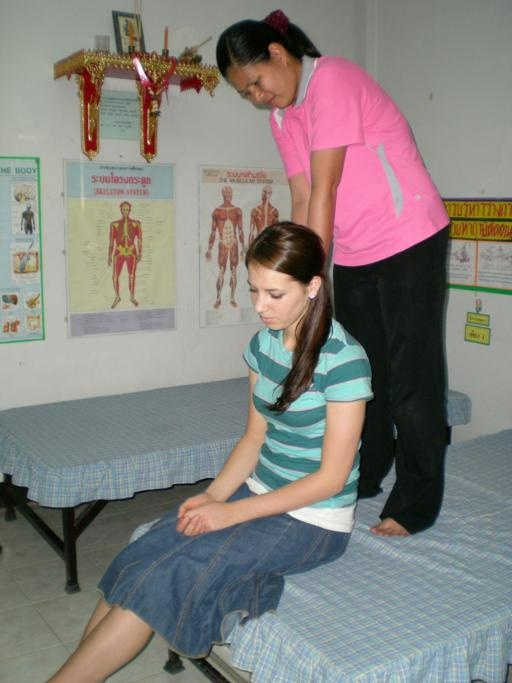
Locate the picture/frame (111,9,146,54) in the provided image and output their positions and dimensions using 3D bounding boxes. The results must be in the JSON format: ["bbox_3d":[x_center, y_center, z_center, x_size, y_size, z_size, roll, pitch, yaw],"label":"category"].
[{"bbox_3d":[-0.659,-1.633,3.062,0.159,0.256,0.204,-1,7,-21],"label":"picture/frame"}]
